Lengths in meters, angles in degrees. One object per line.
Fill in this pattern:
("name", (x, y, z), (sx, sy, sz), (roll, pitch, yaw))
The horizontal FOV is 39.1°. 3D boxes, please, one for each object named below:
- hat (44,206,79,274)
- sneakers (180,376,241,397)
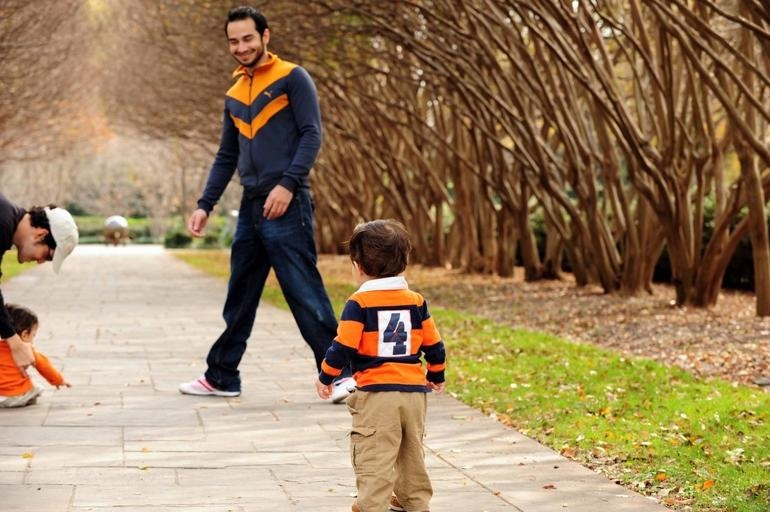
("hat", (-3.130, -0.156, 10.517), (0.306, 0.594, 0.382), (-6, 3, 2))
("sneakers", (-1.879, 1.438, 11.876), (0.685, 0.271, 0.248), (6, -6, -2))
